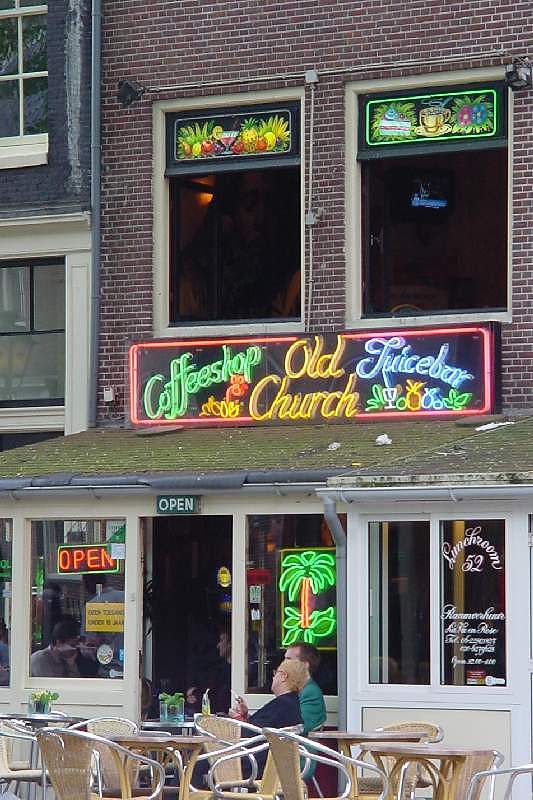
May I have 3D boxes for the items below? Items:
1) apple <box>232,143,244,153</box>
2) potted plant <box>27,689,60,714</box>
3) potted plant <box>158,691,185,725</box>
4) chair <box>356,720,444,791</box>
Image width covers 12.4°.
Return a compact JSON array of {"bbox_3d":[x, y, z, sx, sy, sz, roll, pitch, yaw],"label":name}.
[{"bbox_3d":[-0.281,-2.182,21.274,0.076,0.084,0.045,-32,6,13],"label":"apple"},{"bbox_3d":[-1.748,2.251,18.391,0.199,0.274,0.186,2,-17,-7],"label":"potted plant"},{"bbox_3d":[-0.754,2.315,18.362,0.183,0.286,0.180,-1,-2,3],"label":"potted plant"},{"bbox_3d":[0.940,2.331,16.960,0.492,0.700,0.462,-7,-21,26],"label":"chair"}]
